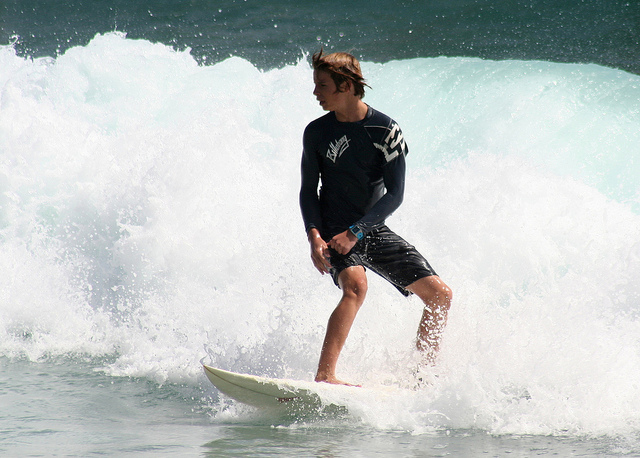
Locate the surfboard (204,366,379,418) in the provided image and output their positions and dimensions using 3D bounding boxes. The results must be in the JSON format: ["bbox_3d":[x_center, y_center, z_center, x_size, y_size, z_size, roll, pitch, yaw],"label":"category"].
[{"bbox_3d":[-0.280,1.745,9.726,2.009,0.377,0.257,5,27,6],"label":"surfboard"}]
